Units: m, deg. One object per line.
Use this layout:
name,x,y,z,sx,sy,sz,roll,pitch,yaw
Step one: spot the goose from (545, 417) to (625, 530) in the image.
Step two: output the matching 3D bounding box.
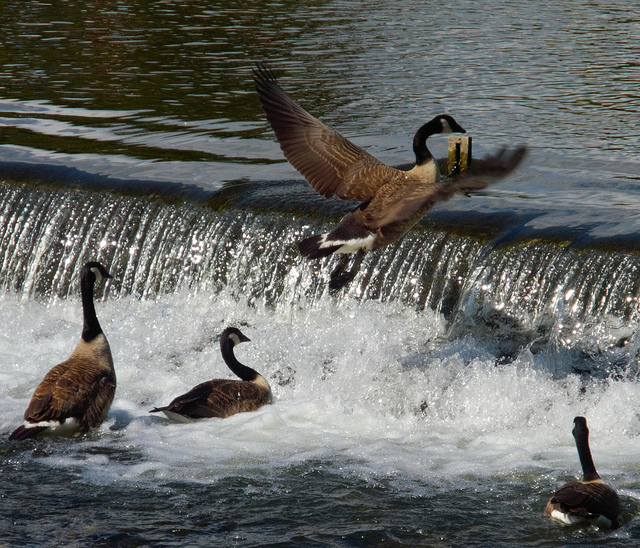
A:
goose,2.689,2.157,13.268,0.861,1.205,1.819,-9,-5,24

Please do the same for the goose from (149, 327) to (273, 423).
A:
goose,-1.186,1.290,15.416,1.094,0.955,1.612,5,11,12
